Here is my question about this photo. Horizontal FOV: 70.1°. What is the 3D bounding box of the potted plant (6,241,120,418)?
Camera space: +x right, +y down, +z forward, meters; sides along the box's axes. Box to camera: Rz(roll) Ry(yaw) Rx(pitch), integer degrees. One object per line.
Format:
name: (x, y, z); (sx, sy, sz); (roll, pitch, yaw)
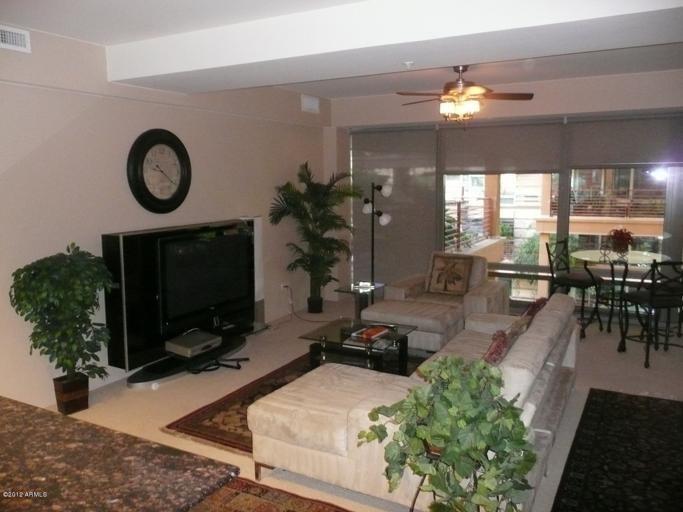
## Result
potted plant: (-2.357, 0.638, 4.210); (0.602, 1.475, 0.804); (13, 14, 40)

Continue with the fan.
fan: (1.234, -1.709, 5.083); (1.365, 0.562, 1.422); (7, 20, 28)

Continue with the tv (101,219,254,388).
tv: (-1.718, 0.505, 4.973); (0.479, 1.127, 1.639); (2, 7, 23)

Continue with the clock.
clock: (-1.894, -0.883, 5.116); (0.168, 0.870, 0.737); (9, 12, 25)

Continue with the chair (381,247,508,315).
chair: (1.403, 0.461, 6.354); (1.231, 0.823, 0.855); (4, 15, 20)

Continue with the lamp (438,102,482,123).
lamp: (1.223, -1.504, 5.028); (0.321, 0.199, 0.251); (-4, 18, -5)

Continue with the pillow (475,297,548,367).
pillow: (1.392, 0.629, 4.060); (0.202, 0.174, 1.327); (-2, 13, 32)

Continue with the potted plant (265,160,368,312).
potted plant: (-0.325, -0.174, 7.284); (1.322, 2.057, 1.340); (1, 3, 13)

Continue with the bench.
bench: (0.864, 0.725, 5.616); (0.689, 0.299, 0.728); (2, 6, 25)
